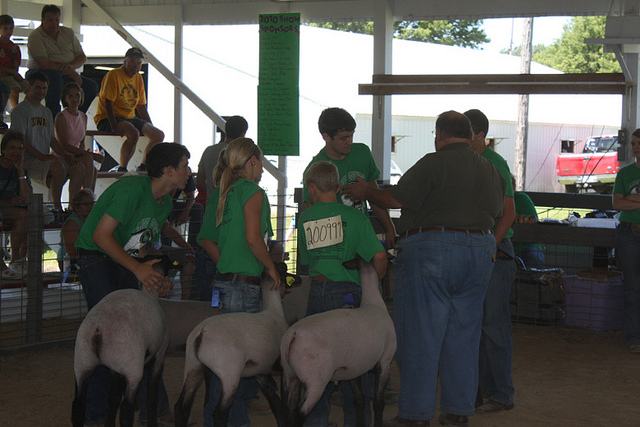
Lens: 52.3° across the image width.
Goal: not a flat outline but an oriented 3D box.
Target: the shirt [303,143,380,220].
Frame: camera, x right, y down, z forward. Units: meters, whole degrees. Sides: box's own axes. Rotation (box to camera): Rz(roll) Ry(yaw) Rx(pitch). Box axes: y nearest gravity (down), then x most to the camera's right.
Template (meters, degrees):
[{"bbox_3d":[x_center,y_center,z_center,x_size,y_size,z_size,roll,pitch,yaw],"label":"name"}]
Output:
[{"bbox_3d":[0.294,-0.273,6.907,0.794,0.935,0.331,-21,28,-18],"label":"shirt"}]

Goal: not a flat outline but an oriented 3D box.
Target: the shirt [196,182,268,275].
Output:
[{"bbox_3d":[-0.830,0.174,6.086,0.771,0.841,0.374,-1,-7,40],"label":"shirt"}]

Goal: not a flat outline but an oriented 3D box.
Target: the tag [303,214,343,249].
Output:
[{"bbox_3d":[0.042,0.171,5.920,0.252,0.201,0.013,-14,-11,13],"label":"tag"}]

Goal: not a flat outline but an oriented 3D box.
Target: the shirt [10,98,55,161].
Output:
[{"bbox_3d":[-4.213,-1.343,9.901,0.721,0.802,0.305,11,35,-10],"label":"shirt"}]

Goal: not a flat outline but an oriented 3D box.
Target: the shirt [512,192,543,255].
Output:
[{"bbox_3d":[2.983,0.158,9.322,0.404,0.855,0.586,2,8,19],"label":"shirt"}]

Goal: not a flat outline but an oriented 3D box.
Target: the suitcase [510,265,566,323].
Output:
[{"bbox_3d":[3.085,1.098,9.374,0.816,0.897,0.881,2,4,25],"label":"suitcase"}]

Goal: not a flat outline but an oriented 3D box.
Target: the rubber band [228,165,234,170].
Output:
[{"bbox_3d":[-0.813,-0.415,5.949,0.045,0.040,0.018,3,8,23],"label":"rubber band"}]

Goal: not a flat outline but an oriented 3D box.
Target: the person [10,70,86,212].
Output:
[{"bbox_3d":[-4.096,-1.148,9.758,0.803,1.865,0.716,1,7,13],"label":"person"}]

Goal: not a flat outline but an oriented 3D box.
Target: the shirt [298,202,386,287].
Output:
[{"bbox_3d":[0.145,0.292,6.099,0.826,0.850,0.516,-1,6,20],"label":"shirt"}]

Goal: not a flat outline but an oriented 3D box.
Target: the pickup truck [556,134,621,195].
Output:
[{"bbox_3d":[5.874,-0.977,14.399,1.257,1.520,4.383,3,9,24],"label":"pickup truck"}]

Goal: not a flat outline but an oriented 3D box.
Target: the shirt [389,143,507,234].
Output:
[{"bbox_3d":[1.261,-0.188,6.208,1.275,0.968,0.685,6,-1,-20],"label":"shirt"}]

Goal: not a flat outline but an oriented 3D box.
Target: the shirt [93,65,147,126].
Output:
[{"bbox_3d":[-3.395,-1.981,11.070,0.511,0.968,0.950,27,19,33],"label":"shirt"}]

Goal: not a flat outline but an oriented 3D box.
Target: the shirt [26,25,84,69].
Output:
[{"bbox_3d":[-4.423,-2.761,10.855,0.502,0.751,0.890,7,19,38],"label":"shirt"}]

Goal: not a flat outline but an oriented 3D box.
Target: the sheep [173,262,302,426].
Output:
[{"bbox_3d":[-0.721,1.203,5.591,1.037,1.116,0.407,-7,9,-38],"label":"sheep"}]

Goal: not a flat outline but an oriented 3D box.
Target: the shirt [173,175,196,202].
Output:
[{"bbox_3d":[-1.981,-0.359,9.434,0.307,0.391,0.858,-2,8,-13],"label":"shirt"}]

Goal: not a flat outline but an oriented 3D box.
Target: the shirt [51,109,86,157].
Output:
[{"bbox_3d":[-3.838,-1.262,10.171,0.183,0.687,0.491,0,8,5],"label":"shirt"}]

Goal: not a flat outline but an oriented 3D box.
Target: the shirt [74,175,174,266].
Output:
[{"bbox_3d":[-1.902,0.093,6.014,0.453,0.885,0.827,13,-9,-12],"label":"shirt"}]
